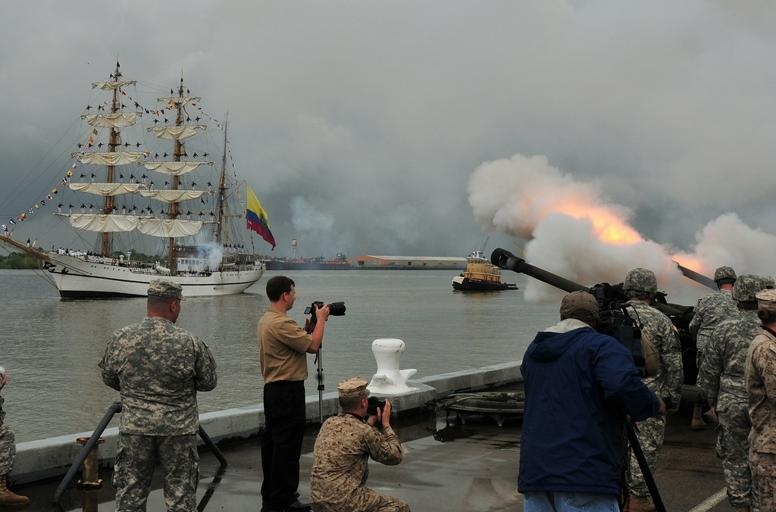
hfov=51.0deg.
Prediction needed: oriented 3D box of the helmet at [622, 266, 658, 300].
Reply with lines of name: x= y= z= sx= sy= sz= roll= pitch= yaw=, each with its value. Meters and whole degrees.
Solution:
helmet: x=3.064 y=0.299 z=9.915 sx=0.358 sy=0.381 sz=0.408 roll=7 pitch=10 yaw=40

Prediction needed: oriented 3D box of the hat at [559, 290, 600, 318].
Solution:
hat: x=1.828 y=0.464 z=7.774 sx=0.333 sy=0.256 sz=0.232 roll=0 pitch=-3 yaw=10

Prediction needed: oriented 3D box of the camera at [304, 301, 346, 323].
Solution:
camera: x=-0.774 y=0.728 z=10.152 sx=0.348 sy=0.200 sz=0.319 roll=-1 pitch=5 yaw=-13
